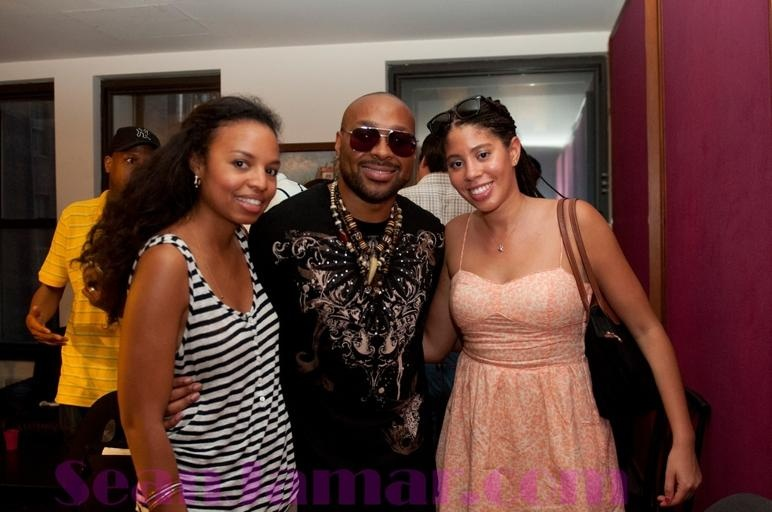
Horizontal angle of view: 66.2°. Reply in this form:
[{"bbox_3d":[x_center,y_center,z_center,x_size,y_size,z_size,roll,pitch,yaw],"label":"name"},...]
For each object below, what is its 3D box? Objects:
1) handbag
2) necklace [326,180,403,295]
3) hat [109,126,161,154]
[{"bbox_3d":[1.039,0.394,2.553,0.567,1.283,0.189,0,3,28],"label":"handbag"},{"bbox_3d":[-0.093,-0.055,2.739,0.262,0.538,0.136,-3,-9,-11],"label":"necklace"},{"bbox_3d":[-1.595,-0.725,3.707,0.225,0.172,0.310,4,-17,-36],"label":"hat"}]
